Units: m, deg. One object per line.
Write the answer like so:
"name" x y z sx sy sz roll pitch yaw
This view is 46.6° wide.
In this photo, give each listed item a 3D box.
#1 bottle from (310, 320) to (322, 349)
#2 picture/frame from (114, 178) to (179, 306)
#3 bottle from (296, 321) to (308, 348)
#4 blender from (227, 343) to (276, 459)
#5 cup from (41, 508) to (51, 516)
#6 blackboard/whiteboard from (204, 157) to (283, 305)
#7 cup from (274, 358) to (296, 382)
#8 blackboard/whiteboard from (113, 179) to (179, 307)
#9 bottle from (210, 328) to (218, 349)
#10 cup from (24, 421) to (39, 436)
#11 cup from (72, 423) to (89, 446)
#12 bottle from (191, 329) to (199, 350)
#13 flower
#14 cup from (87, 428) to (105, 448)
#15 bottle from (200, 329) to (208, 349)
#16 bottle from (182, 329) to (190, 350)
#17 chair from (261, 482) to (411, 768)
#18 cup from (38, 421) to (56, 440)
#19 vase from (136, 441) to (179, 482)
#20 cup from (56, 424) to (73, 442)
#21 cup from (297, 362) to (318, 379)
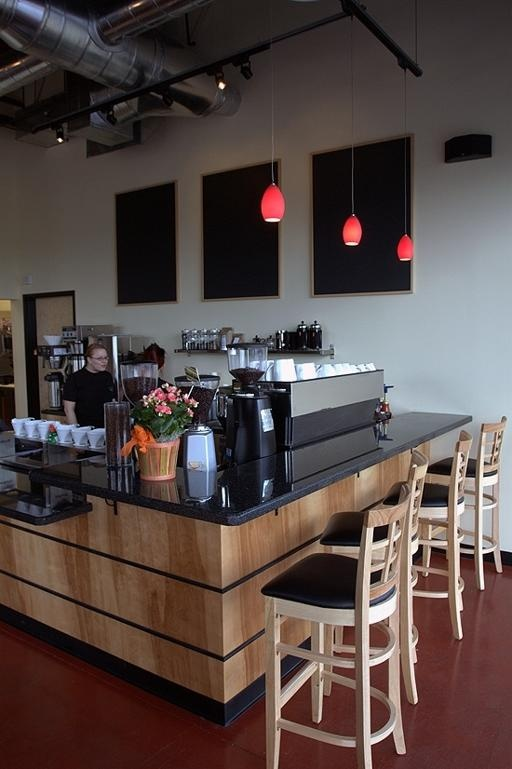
"bottle" 0.504 -0.408 5.003 0.096 0.241 0.152 0 7 5
"picture/frame" -1.131 -1.520 6.254 1.228 1.774 0.082 6 9 43
"bottle" 0.393 -0.401 5.042 0.085 0.202 0.054 -1 7 2
"blender" -0.031 0.088 2.833 0.230 0.619 0.222 -11 20 -31
"cup" -0.800 0.489 2.269 0.020 0.030 0.025 -4 -4 -1
"blackboard/whiteboard" -0.155 -1.386 5.486 0.943 1.198 0.153 6 9 45
"cup" 0.175 -0.081 3.271 0.149 0.109 0.083 -6 8 -35
"blackboard/whiteboard" -1.140 -1.514 6.262 1.225 1.770 0.082 6 9 43
"bottle" -0.406 -0.422 5.670 0.063 0.197 0.107 -3 7 -15
"cup" -1.173 0.232 3.097 0.067 0.077 0.075 1 5 -19
"cup" -0.851 0.254 2.868 0.078 0.085 0.080 -1 -4 0
"bottle" -0.591 -0.430 5.792 0.089 0.190 0.032 4 8 38
"flower" -0.355 0.095 2.354 0.202 0.155 0.214 0 5 5
"cup" -0.763 0.262 2.894 0.084 0.100 0.100 0 -12 9
"bottle" -0.505 -0.427 5.741 0.044 0.186 0.099 -6 8 -37
"bottle" -0.695 -0.431 5.867 0.039 0.202 0.099 -5 8 -30
"chair" 0.288 0.813 2.092 0.469 1.020 0.785 0 7 11
"cup" -1.053 0.233 2.992 0.094 0.102 0.101 0 -10 0
"vase" -0.388 0.292 2.337 0.143 0.126 0.155 -1 -1 -11
"cup" -0.944 0.234 2.914 0.069 0.089 0.081 -3 5 -19
"cup" 0.287 -0.070 3.415 0.076 0.109 0.136 -18 -13 36
